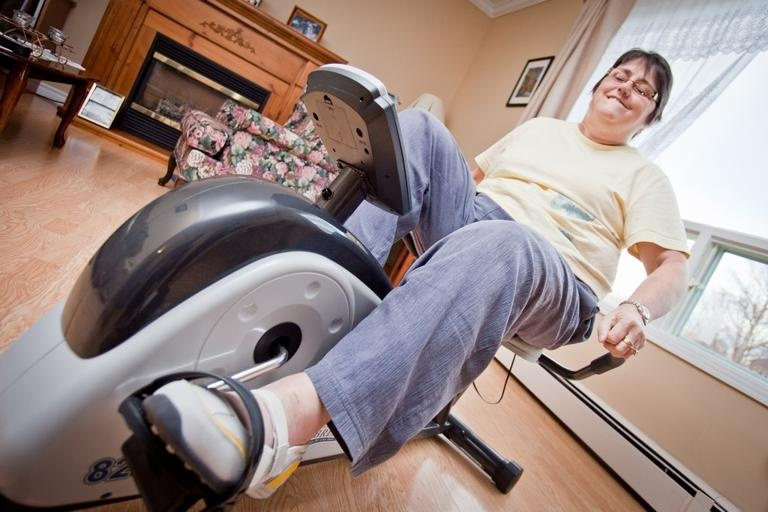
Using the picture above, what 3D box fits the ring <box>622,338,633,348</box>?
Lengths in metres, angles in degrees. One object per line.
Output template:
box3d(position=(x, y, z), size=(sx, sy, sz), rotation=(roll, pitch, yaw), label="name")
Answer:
box3d(position=(0.573, 0.203, 1.008), size=(0.019, 0.006, 0.019), rotation=(157, -90, -83), label="ring")

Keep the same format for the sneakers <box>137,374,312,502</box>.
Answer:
box3d(position=(-0.260, 0.318, 0.740), size=(0.144, 0.116, 0.264), rotation=(56, 2, 38), label="sneakers")

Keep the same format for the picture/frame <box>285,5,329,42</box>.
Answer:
box3d(position=(-0.762, -2.242, 4.089), size=(0.401, 0.293, 0.045), rotation=(26, 3, -18), label="picture/frame")

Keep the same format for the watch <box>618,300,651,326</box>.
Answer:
box3d(position=(0.638, 0.136, 1.099), size=(0.068, 0.029, 0.066), rotation=(48, 5, -23), label="watch")
